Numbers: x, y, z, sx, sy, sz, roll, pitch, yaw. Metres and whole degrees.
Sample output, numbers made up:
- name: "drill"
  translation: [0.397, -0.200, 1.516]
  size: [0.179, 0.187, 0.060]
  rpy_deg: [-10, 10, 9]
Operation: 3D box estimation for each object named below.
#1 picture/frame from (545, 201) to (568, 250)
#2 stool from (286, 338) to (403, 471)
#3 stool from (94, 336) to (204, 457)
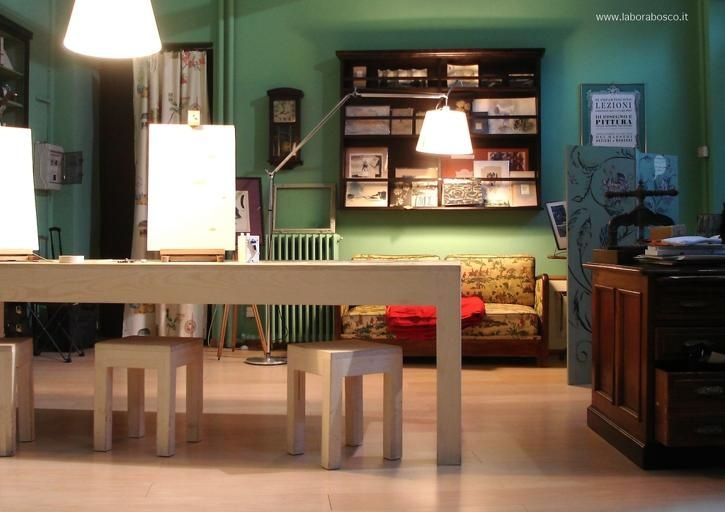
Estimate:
- name: "picture/frame"
  translation: [1.779, -0.260, 6.600]
  size: [0.176, 0.443, 0.306]
  rpy_deg: [-4, 11, -16]
- name: "stool"
  translation: [-0.104, 0.818, 4.327]
  size: [0.666, 0.735, 0.665]
  rpy_deg: [0, -3, -18]
- name: "stool"
  translation: [-1.179, 0.799, 4.468]
  size: [0.643, 0.709, 0.653]
  rpy_deg: [0, -1, 2]
